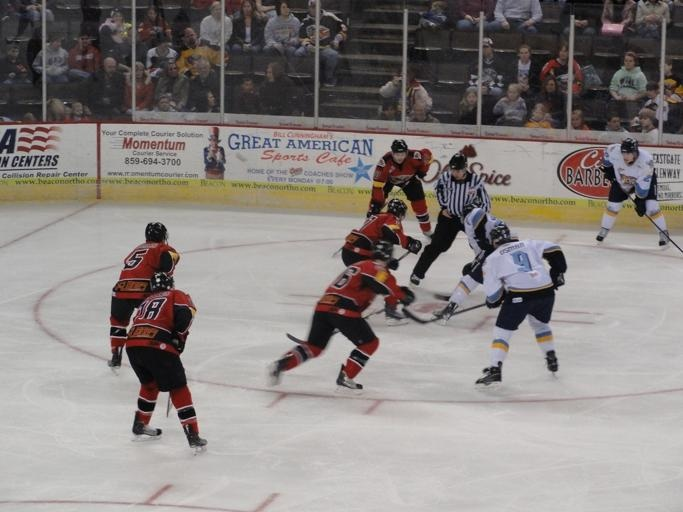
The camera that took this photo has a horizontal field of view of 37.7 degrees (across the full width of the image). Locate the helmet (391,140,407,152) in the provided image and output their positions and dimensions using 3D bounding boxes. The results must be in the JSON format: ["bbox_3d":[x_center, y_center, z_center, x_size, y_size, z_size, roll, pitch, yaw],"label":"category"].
[{"bbox_3d":[0.748,-1.342,12.229,0.201,0.142,0.120,7,12,23],"label":"helmet"}]

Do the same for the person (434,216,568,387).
[{"bbox_3d":[1.692,0.455,9.256,0.730,1.444,0.882,8,12,21],"label":"person"}]

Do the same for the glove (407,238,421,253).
[{"bbox_3d":[0.841,-0.128,10.834,0.123,0.189,0.355,5,10,8],"label":"glove"}]

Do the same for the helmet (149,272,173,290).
[{"bbox_3d":[-1.403,0.206,8.214,0.189,0.142,0.147,-22,9,-26],"label":"helmet"}]

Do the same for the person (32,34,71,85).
[{"bbox_3d":[-4.375,-3.082,15.418,0.747,0.826,0.545,-8,33,-31],"label":"person"}]

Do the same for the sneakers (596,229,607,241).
[{"bbox_3d":[3.512,-0.283,13.386,0.086,0.100,0.220,20,58,19],"label":"sneakers"}]

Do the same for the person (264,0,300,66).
[{"bbox_3d":[-0.811,-3.407,15.217,0.528,0.986,0.228,9,14,26],"label":"person"}]

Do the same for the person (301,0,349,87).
[{"bbox_3d":[-0.215,-3.219,15.098,0.699,1.276,0.210,9,14,27],"label":"person"}]

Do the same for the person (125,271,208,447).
[{"bbox_3d":[-1.350,0.843,8.109,0.806,1.388,0.433,13,15,38],"label":"person"}]

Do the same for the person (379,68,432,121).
[{"bbox_3d":[0.966,-2.231,14.974,0.872,0.952,0.377,2,-5,-25],"label":"person"}]

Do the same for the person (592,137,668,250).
[{"bbox_3d":[3.892,-0.840,13.133,0.860,1.413,0.745,3,12,-1],"label":"person"}]

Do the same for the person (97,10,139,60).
[{"bbox_3d":[-3.373,-3.389,15.620,0.468,0.818,0.641,-20,31,-38],"label":"person"}]

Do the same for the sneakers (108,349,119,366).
[{"bbox_3d":[-2.064,0.959,9.399,0.116,0.197,0.169,1,11,-11],"label":"sneakers"}]

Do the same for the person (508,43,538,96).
[{"bbox_3d":[2.699,-2.724,14.513,0.345,0.731,0.182,4,12,4],"label":"person"}]

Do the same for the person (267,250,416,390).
[{"bbox_3d":[0.024,0.635,8.969,1.115,1.178,0.409,2,12,-5],"label":"person"}]

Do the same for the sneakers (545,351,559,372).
[{"bbox_3d":[1.989,0.977,9.335,0.106,0.091,0.243,-1,15,5],"label":"sneakers"}]

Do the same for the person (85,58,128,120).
[{"bbox_3d":[-3.580,-2.658,15.644,0.673,0.844,0.615,5,30,-16],"label":"person"}]

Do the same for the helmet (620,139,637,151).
[{"bbox_3d":[3.697,-1.414,12.746,0.219,0.168,0.247,5,10,13],"label":"helmet"}]

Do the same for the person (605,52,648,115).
[{"bbox_3d":[4.090,-2.435,14.221,0.590,0.793,0.500,5,28,22],"label":"person"}]

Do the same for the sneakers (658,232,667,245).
[{"bbox_3d":[4.238,-0.235,13.125,0.116,0.145,0.062,-3,-15,4],"label":"sneakers"}]

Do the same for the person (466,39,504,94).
[{"bbox_3d":[2.179,-2.790,14.615,0.642,0.705,0.575,-18,17,-33],"label":"person"}]

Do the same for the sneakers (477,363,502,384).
[{"bbox_3d":[1.388,1.074,9.148,0.226,0.230,0.255,4,11,8],"label":"sneakers"}]

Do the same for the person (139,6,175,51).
[{"bbox_3d":[-2.731,-3.549,15.383,0.656,0.704,0.439,-7,30,1],"label":"person"}]

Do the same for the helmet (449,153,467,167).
[{"bbox_3d":[1.362,-1.068,11.269,0.169,0.167,0.285,5,10,9],"label":"helmet"}]
